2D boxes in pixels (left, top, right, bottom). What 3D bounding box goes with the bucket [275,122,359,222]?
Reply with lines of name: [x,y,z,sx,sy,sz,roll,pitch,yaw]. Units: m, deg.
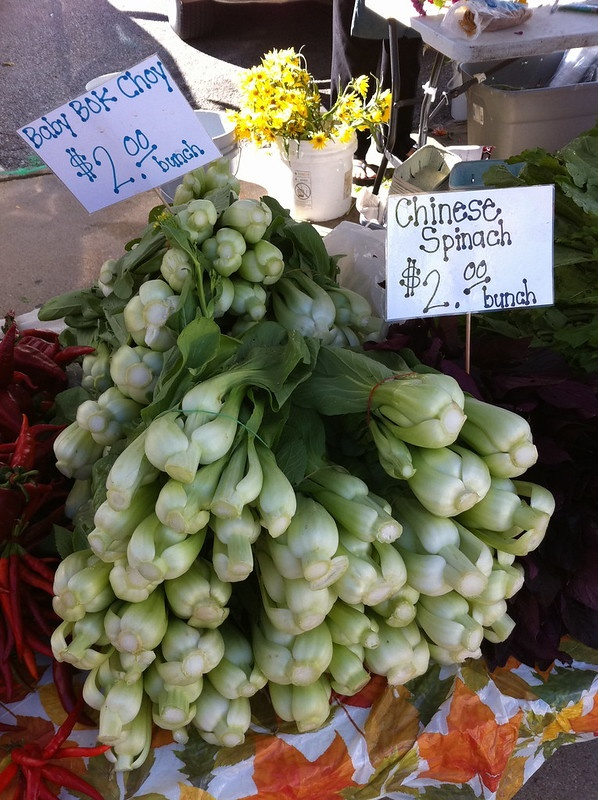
bucket: [0.193,-1.644,4.559,0.574,0.532,0.558,-3,31,2]

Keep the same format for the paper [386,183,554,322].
paper: [0.388,-0.332,1.420,0.365,0.251,0.018,-8,25,-8]

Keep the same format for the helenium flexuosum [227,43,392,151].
helenium flexuosum: [0.097,-1.957,4.162,1.085,0.635,0.719,-16,57,-18]
